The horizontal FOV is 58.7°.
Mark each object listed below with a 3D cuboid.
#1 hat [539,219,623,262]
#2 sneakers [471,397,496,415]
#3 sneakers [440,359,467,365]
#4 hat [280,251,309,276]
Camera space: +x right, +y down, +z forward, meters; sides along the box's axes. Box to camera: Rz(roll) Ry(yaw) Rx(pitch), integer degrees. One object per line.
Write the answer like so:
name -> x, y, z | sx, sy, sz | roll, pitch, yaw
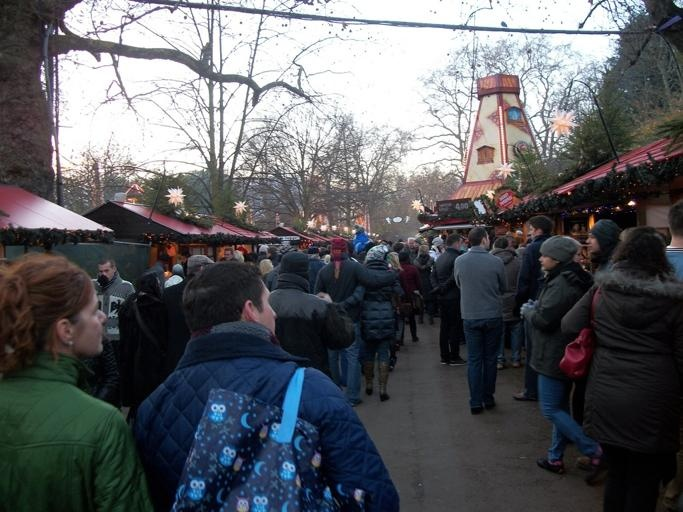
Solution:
hat -> 2.284, -0.153, 5.749 | 0.456, 0.558, 0.583 | 2, 4, -6
sneakers -> 1.677, 1.783, 7.104 | 0.121, 0.144, 0.354 | -7, -14, 33
sneakers -> 1.779, 1.680, 9.515 | 0.356, 0.138, 0.124 | 0, -3, 0
hat -> -0.459, 0.084, 5.884 | 0.273, 0.248, 0.202 | -1, 3, -9
